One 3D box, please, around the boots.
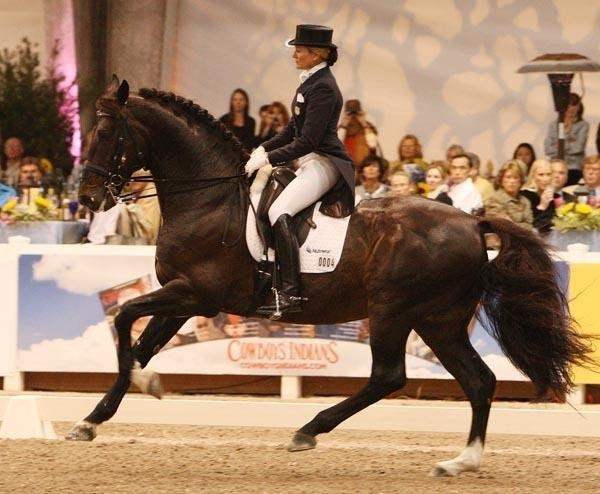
[{"bbox_3d":[-0.112,0.121,5.208,0.161,0.643,0.193,-1,7,-38],"label":"boots"}]
